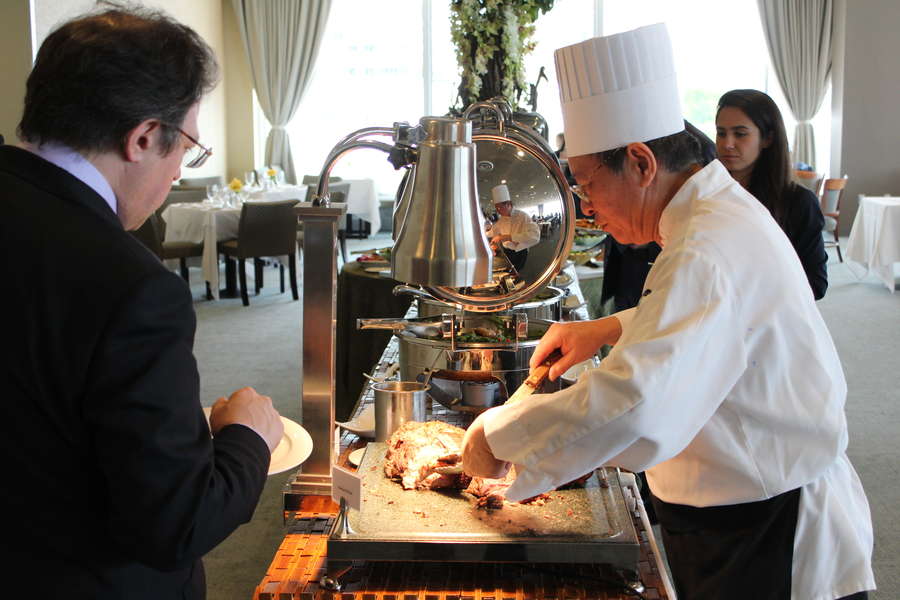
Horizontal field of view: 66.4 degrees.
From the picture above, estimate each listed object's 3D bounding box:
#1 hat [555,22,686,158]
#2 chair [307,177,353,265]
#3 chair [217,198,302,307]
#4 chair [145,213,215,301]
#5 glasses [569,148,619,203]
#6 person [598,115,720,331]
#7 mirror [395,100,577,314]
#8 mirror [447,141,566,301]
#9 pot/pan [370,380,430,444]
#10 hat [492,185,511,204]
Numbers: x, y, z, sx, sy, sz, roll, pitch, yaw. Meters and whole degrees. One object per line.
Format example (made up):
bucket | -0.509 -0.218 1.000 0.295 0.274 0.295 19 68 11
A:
hat | 0.365 -0.437 1.507 0.275 0.278 0.273 -9 20 20
chair | -1.326 -0.831 7.488 0.414 0.670 0.416 -10 37 -23
chair | -1.706 -0.457 6.243 0.633 0.848 0.677 1 10 4
chair | -2.469 -0.500 6.094 0.388 0.684 0.409 17 20 41
glasses | 0.283 -0.249 1.368 0.078 0.021 0.075 -46 -6 3
person | 0.840 -0.191 2.822 0.344 0.375 1.017 8 -27 0
mirror | 0.121 -0.261 1.656 0.487 0.530 0.123 -4 9 41
mirror | 0.168 -0.206 1.757 0.084 0.377 0.350 -7 7 -34
pot/pan | -0.125 0.270 1.716 0.128 0.145 0.135 0 4 0
hat | 0.139 -0.288 1.874 0.044 0.051 0.046 -2 -1 44
